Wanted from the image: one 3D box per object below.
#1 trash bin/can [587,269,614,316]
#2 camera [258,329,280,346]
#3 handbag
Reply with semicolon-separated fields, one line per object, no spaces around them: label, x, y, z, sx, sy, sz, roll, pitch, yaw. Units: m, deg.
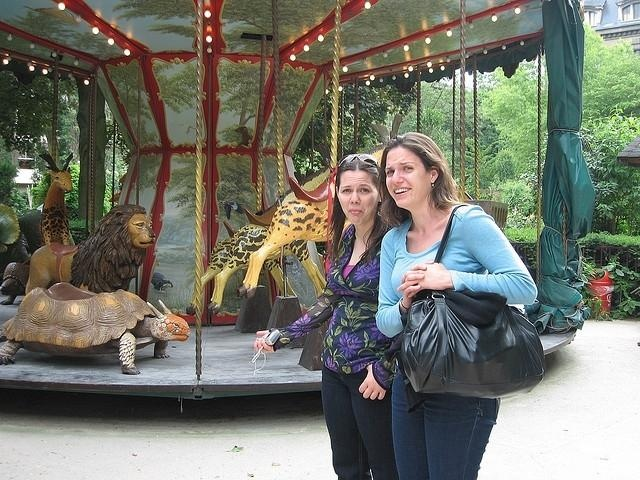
trash bin/can;5.568;1.048;10.305;0.374;0.925;0.492;1;0;42
camera;-0.237;0.467;2.455;0.083;0.058;0.029;-41;-5;-33
handbag;0.482;0.336;1.688;0.425;0.296;0.176;1;-7;-12
